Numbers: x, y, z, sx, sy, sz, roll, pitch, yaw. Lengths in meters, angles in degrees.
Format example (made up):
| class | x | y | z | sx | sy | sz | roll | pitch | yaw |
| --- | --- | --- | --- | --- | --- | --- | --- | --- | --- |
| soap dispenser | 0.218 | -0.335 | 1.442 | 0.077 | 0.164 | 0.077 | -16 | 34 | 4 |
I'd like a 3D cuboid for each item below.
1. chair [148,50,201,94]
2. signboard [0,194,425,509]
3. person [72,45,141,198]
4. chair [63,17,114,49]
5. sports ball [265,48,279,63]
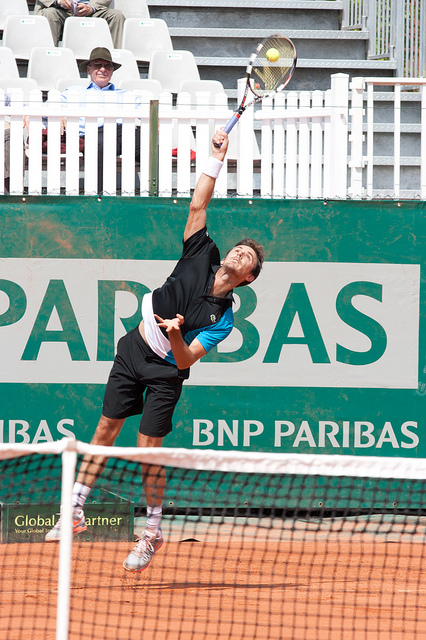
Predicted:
| class | x | y | z | sx | sy | sz | roll | pitch | yaw |
| --- | --- | --- | --- | --- | --- | --- | --- | --- | --- |
| chair | -0.396 | -2.424 | 11.888 | 0.536 | 0.494 | 0.484 | 4 | -36 | 3 |
| signboard | -0.119 | 0.201 | 7.616 | 1.957 | 1.497 | 0.029 | 1 | 0 | -10 |
| person | -0.890 | -1.694 | 10.247 | 0.718 | 1.388 | 0.400 | -20 | 29 | -30 |
| chair | -1.313 | -3.063 | 12.518 | 0.574 | 0.325 | 0.270 | -2 | 10 | -17 |
| sports ball | 0.374 | -1.685 | 7.471 | 0.075 | 0.080 | 0.073 | -5 | 3 | 0 |
